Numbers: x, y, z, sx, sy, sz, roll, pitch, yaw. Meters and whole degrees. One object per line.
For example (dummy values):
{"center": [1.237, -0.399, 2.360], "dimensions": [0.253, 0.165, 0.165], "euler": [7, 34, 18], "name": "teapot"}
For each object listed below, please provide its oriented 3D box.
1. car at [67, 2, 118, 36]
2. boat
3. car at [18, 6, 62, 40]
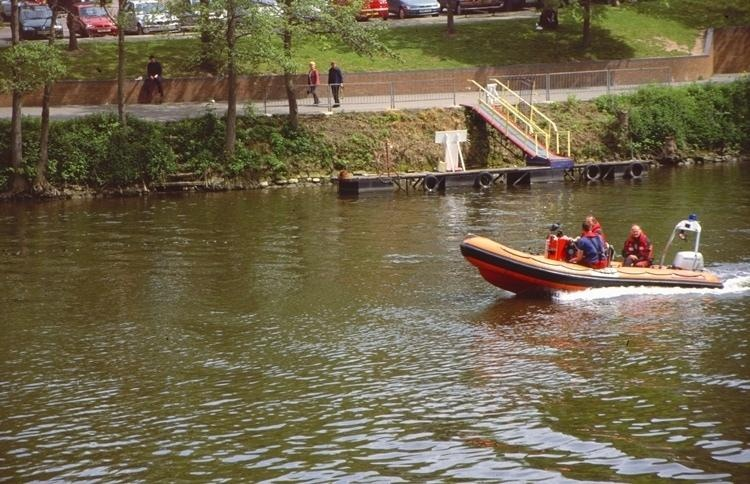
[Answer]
{"center": [-18.081, -14.160, 67.009], "dimensions": [2.263, 2.179, 2.414], "euler": [-5, 10, -26], "name": "car"}
{"center": [7.391, 0.858, 32.814], "dimensions": [9.188, 1.485, 2.531], "euler": [1, 0, -6], "name": "boat"}
{"center": [-21.093, -13.618, 64.924], "dimensions": [1.901, 2.194, 2.159], "euler": [-4, 9, -16], "name": "car"}
